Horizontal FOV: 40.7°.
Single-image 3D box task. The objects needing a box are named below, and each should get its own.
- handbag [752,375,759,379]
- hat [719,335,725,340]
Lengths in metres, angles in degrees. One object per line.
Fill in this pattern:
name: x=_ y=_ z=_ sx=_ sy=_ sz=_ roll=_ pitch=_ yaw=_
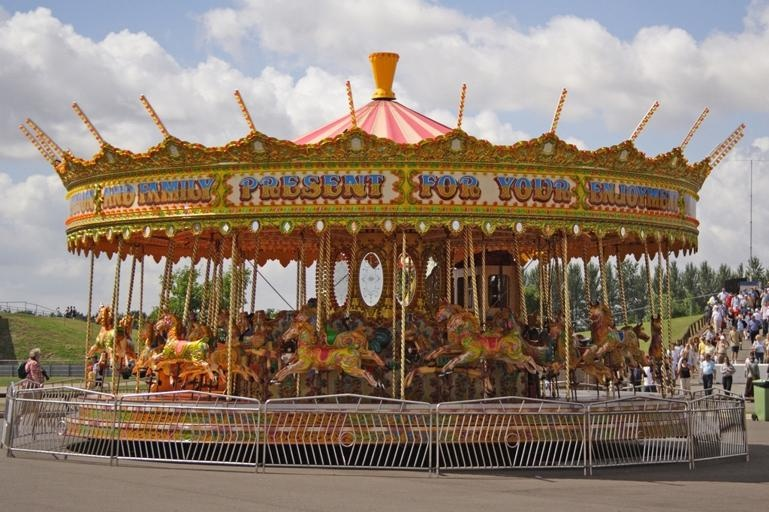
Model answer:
handbag: x=12.589 y=4.117 z=34.989 sx=0.179 sy=0.129 sz=0.174 roll=5 pitch=-10 yaw=-33
hat: x=12.505 y=3.032 z=38.399 sx=0.175 sy=0.136 sz=0.172 roll=6 pitch=-6 yaw=-23
